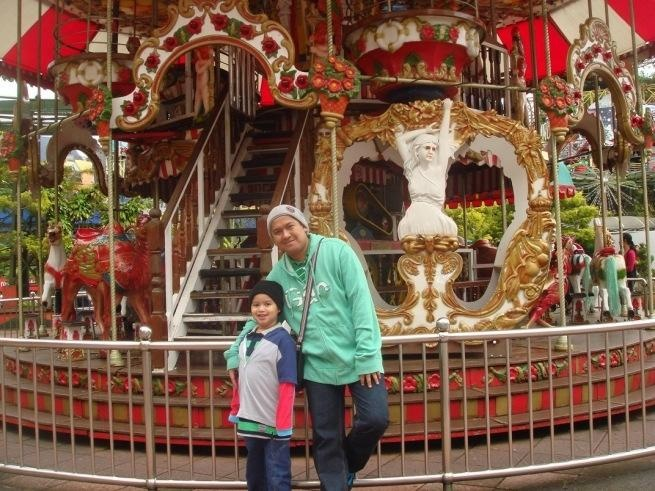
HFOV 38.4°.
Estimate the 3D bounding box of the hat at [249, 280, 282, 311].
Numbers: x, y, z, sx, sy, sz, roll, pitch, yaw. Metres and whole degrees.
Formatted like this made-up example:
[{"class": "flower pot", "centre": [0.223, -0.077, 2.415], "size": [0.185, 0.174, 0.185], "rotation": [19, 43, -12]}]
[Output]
[{"class": "hat", "centre": [-0.580, 0.449, 9.151], "size": [0.267, 0.298, 0.232], "rotation": [-4, 26, 20]}]
